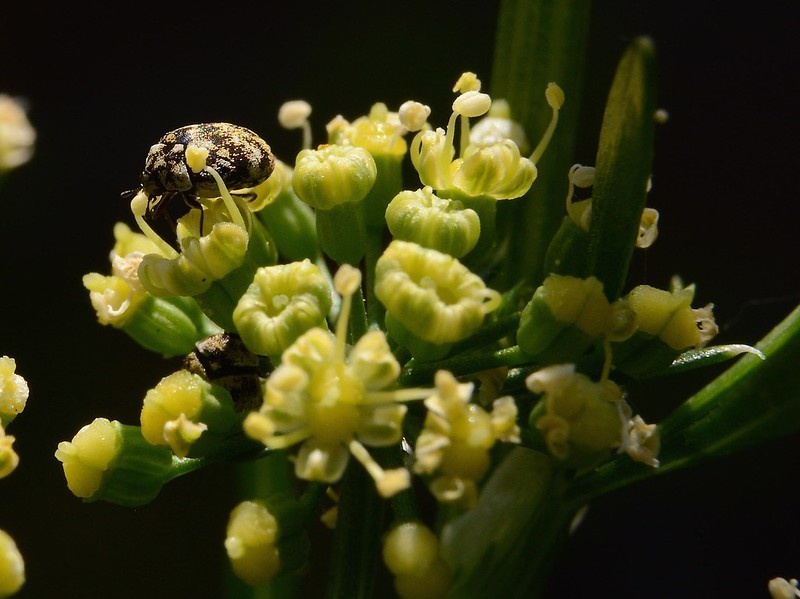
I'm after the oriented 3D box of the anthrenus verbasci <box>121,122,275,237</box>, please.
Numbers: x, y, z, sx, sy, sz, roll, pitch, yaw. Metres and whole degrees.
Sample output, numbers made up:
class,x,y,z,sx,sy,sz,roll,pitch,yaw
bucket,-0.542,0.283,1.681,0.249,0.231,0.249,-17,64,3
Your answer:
class,x,y,z,sx,sy,sz,roll,pitch,yaw
anthrenus verbasci,-0.296,-0.183,1.387,0.185,0.106,0.183,-9,56,7

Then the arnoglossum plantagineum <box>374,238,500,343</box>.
class,x,y,z,sx,sy,sz,roll,pitch,yaw
arnoglossum plantagineum,0.048,-0.004,1.242,0.170,0.079,0.174,-2,34,-40

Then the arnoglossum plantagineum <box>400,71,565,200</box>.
class,x,y,z,sx,sy,sz,roll,pitch,yaw
arnoglossum plantagineum,0.143,-0.250,1.392,0.219,0.201,0.194,9,96,17

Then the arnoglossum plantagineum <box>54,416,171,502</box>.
class,x,y,z,sx,sy,sz,roll,pitch,yaw
arnoglossum plantagineum,-0.394,0.259,1.318,0.193,0.159,0.110,16,66,-18
